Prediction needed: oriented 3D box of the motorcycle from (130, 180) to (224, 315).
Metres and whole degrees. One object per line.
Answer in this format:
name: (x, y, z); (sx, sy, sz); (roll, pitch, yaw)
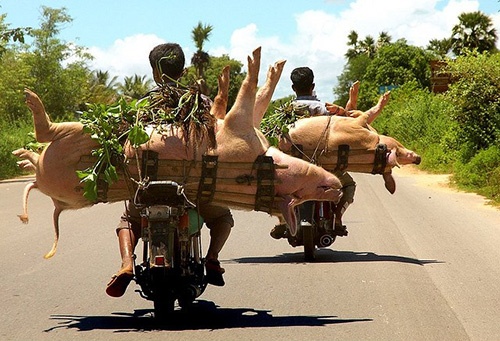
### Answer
motorcycle: (-0.807, 0.803, 5.669); (0.744, 1.111, 1.831); (-1, 4, -4)

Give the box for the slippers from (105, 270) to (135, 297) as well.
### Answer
slippers: (-1.347, 1.168, 5.537); (0.362, 0.167, 0.160); (-50, 13, -13)

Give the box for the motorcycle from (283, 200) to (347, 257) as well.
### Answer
motorcycle: (1.007, 0.811, 8.304); (0.797, 0.888, 1.797); (0, 11, 2)

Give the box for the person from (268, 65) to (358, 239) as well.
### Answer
person: (0.914, -0.201, 8.348); (1.455, 2.523, 1.130); (-4, 4, -41)

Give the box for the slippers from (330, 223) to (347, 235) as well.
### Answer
slippers: (1.296, 0.918, 8.156); (0.382, 0.167, 0.125); (3, 16, 5)
